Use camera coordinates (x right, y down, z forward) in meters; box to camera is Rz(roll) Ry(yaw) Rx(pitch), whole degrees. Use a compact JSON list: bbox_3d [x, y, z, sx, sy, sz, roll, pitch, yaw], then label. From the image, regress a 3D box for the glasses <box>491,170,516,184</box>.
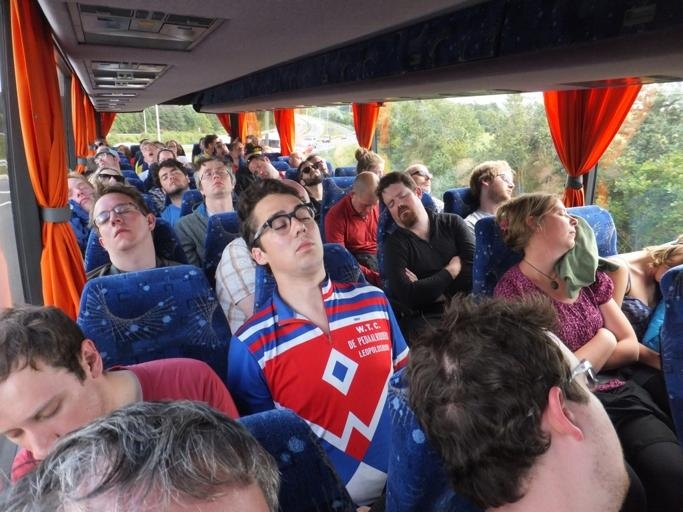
[{"bbox_3d":[1.248,-0.601,3.842,0.136,0.048,0.139,-5,-8,44],"label":"glasses"}]
